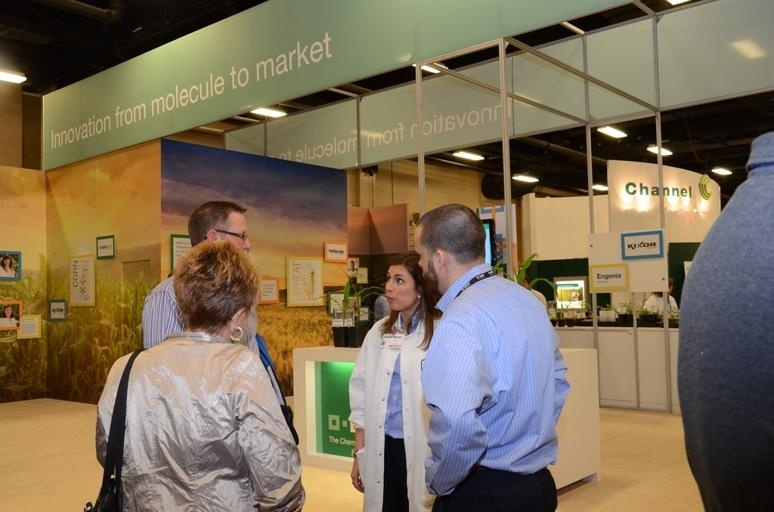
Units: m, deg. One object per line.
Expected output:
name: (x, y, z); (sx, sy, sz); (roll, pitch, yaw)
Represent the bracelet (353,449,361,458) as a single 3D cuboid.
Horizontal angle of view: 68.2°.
bracelet: (-0.171, 1.129, 3.268); (0.051, 0.058, 0.061); (0, -11, 4)
